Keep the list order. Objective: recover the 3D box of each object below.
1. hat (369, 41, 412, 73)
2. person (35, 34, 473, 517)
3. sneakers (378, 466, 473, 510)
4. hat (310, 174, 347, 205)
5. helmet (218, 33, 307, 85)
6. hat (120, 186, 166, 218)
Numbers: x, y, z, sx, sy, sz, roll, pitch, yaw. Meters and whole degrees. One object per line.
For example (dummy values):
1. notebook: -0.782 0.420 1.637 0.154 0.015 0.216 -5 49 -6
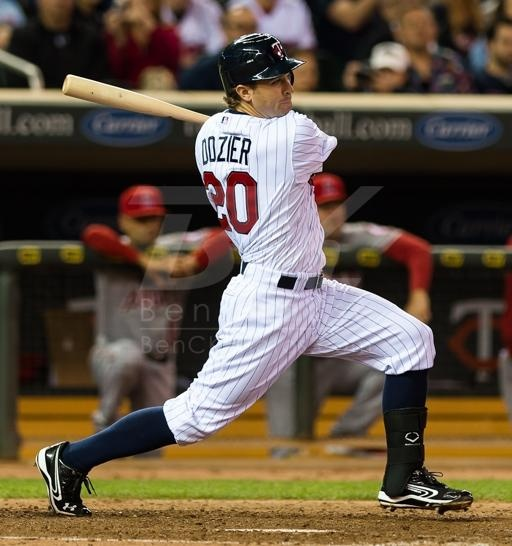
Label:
1. hat: 0.618 -0.967 4.541 0.216 0.161 0.059 -8 6 39
2. person: 0.006 0.021 2.820 1.178 1.386 0.294 0 1 10
3. sneakers: 0.486 0.630 2.882 0.337 0.126 0.097 -1 -14 9
4. hat: 0.295 -0.369 4.330 0.197 0.092 0.218 -11 -6 -5
5. helmet: 0.000 -0.591 2.751 0.225 0.090 0.146 -14 15 14
6. hat: -0.411 -0.272 3.858 0.188 0.106 0.129 3 -3 -39
